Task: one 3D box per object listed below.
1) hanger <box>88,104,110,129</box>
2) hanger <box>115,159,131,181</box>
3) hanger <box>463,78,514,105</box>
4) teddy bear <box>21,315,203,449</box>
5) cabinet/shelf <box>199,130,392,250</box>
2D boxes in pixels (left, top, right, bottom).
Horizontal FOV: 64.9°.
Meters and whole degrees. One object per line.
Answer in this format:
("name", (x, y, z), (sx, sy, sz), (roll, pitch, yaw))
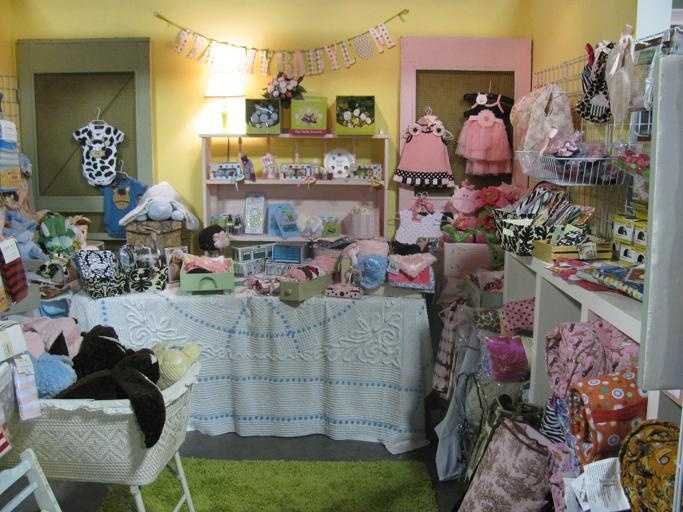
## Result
("hanger", (-2.361, -1.357, 5.214), (0.197, 0.254, 0.004), (3, 11, -3))
("hanger", (-2.152, -0.850, 5.282), (0.059, 0.185, 0.181), (-2, 8, -9))
("hanger", (1.378, -1.515, 4.992), (0.462, 0.252, 0.163), (3, 13, 11))
("teddy bear", (-0.902, 0.479, 2.166), (0.410, 0.182, 0.447), (3, 7, 14))
("cabinet/shelf", (-0.427, -0.675, 5.195), (1.889, 0.979, 0.427), (1, 12, 3))
